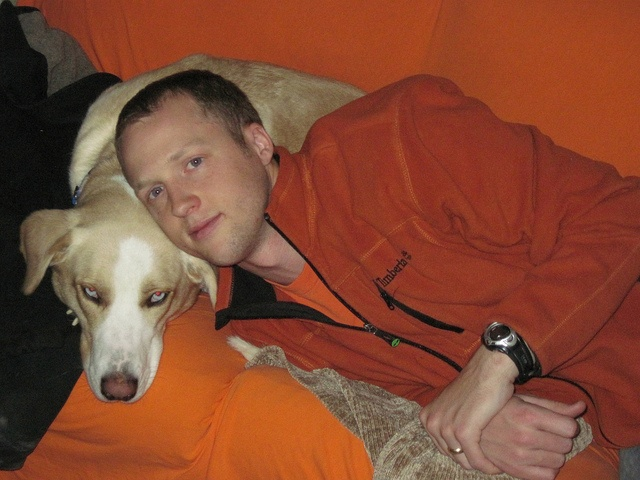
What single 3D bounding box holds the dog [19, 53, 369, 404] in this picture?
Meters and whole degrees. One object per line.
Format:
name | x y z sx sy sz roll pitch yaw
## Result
dog | -0.743 -0.285 3.654 1.422 2.108 0.686 36 -28 16
